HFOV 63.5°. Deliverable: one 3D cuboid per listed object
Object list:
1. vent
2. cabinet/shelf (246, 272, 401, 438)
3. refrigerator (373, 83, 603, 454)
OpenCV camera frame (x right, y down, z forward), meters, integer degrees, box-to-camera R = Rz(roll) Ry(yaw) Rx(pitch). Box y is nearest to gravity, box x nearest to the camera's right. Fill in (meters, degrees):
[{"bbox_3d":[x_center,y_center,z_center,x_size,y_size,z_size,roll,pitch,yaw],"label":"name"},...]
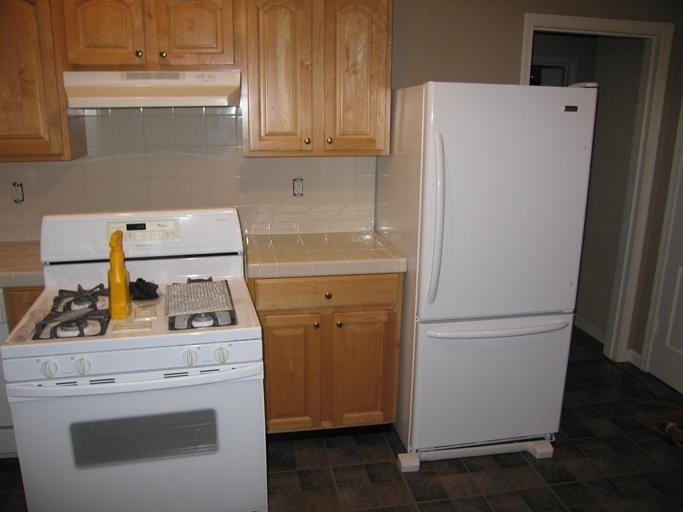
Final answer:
[{"bbox_3d":[-0.978,-0.867,2.873,0.883,0.188,0.107,-4,20,-7],"label":"vent"},{"bbox_3d":[-0.116,0.507,3.058,0.829,0.970,0.501,-2,11,-9],"label":"cabinet/shelf"},{"bbox_3d":[0.717,0.115,3.394,1.204,2.086,1.171,0,11,-10],"label":"refrigerator"}]
